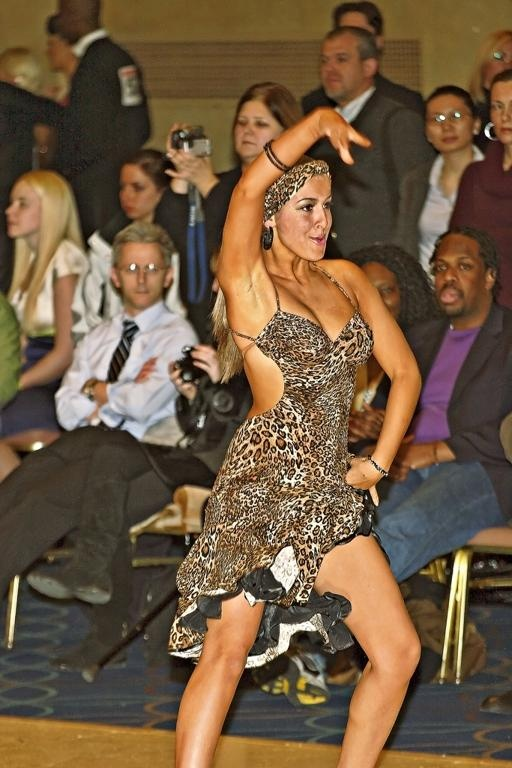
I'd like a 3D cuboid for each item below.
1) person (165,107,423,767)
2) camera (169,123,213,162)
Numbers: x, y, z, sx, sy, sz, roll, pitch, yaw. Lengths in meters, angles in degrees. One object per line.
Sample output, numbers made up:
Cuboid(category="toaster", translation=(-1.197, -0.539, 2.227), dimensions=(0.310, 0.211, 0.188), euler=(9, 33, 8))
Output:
Cuboid(category="person", translation=(0.087, 0.102, 1.236), dimensions=(0.443, 1.061, 0.638), euler=(2, 22, -6))
Cuboid(category="camera", translation=(-0.265, -0.985, 2.991), dimensions=(0.152, 0.126, 0.143), euler=(4, 11, -1))
